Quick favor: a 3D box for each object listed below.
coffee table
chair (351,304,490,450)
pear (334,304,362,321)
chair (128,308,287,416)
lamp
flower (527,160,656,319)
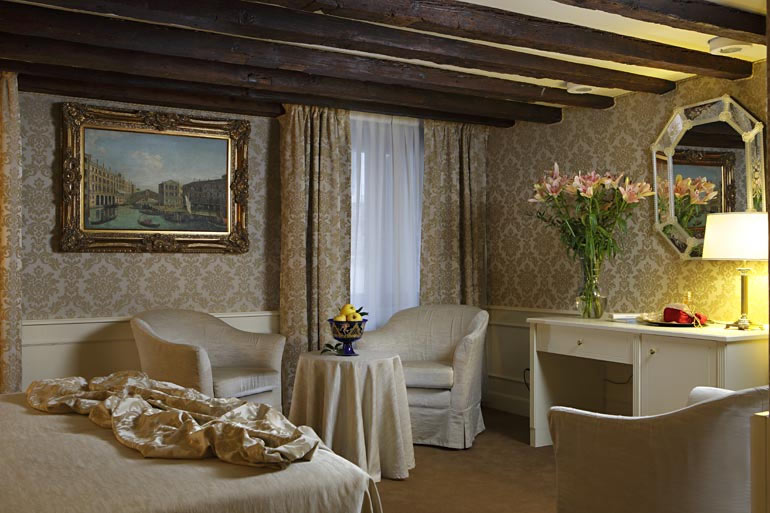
[{"bbox_3d":[-0.282,1.216,4.993,0.932,0.860,0.931,1,-3,-15],"label":"coffee table"},{"bbox_3d":[0.408,1.060,5.805,1.047,1.184,1.037,-1,-2,19],"label":"chair"},{"bbox_3d":[-0.297,0.461,4.901,0.153,0.154,0.062,6,-14,-14],"label":"pear"},{"bbox_3d":[-1.488,1.006,5.228,1.095,1.192,1.148,2,-6,-33],"label":"chair"},{"bbox_3d":[2.653,0.086,4.609,0.426,0.832,0.477,4,14,29],"label":"lamp"},{"bbox_3d":[1.912,-0.183,5.669,1.043,1.311,0.824,7,16,40],"label":"flower"}]
